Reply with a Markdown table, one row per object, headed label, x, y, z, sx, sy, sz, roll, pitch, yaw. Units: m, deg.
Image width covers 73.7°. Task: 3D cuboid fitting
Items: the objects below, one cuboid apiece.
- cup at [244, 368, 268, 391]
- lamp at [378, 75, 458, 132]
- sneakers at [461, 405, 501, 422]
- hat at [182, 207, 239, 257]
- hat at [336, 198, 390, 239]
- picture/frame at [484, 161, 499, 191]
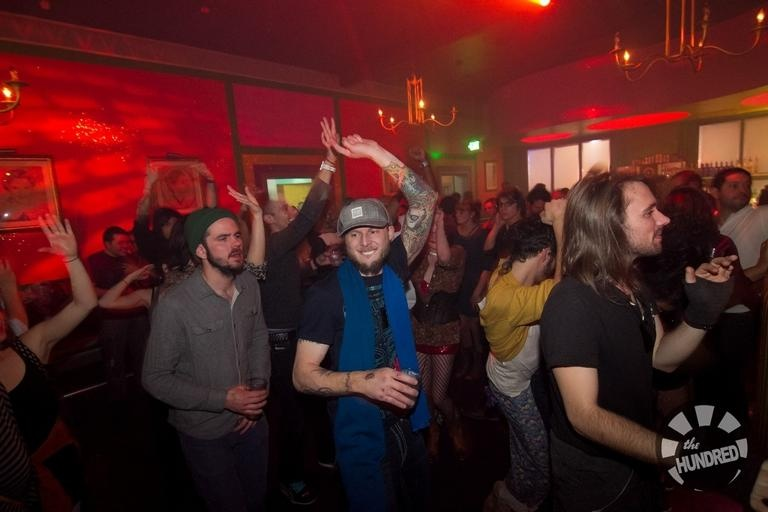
| label | x | y | z | sx | sy | sz | roll | pitch | yaw |
| --- | --- | --- | --- | --- | --- | --- | --- | --- | --- |
| cup | -1.010 | 0.994 | 4.084 | 0.157 | 0.112 | 0.131 | 6 | 3 | 37 |
| lamp | 0.451 | -2.178 | 7.330 | 1.023 | 0.740 | 1.033 | -3 | 3 | -18 |
| sneakers | 1.088 | 1.735 | 5.539 | 0.266 | 0.141 | 0.193 | -3 | -13 | 5 |
| hat | -1.440 | -0.187 | 4.195 | 0.350 | 0.231 | 0.405 | -21 | 1 | -44 |
| hat | -0.195 | -0.320 | 3.990 | 0.389 | 0.246 | 0.512 | -12 | 7 | -11 |
| picture/frame | 2.675 | -2.005 | 12.851 | 0.061 | 0.781 | 0.785 | -1 | 2 | 33 |
